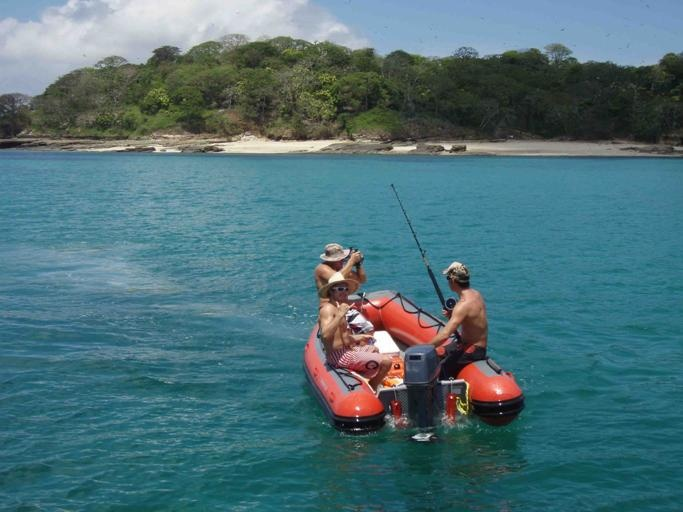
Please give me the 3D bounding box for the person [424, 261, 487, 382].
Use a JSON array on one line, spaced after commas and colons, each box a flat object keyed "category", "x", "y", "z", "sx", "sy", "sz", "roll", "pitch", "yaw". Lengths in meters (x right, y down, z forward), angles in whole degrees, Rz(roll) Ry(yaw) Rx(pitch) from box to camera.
[{"category": "person", "x": 1.731, "y": 0.863, "z": 9.341, "sx": 1.187, "sy": 1.455, "sz": 0.901, "roll": 4, "pitch": 13, "yaw": 16}]
